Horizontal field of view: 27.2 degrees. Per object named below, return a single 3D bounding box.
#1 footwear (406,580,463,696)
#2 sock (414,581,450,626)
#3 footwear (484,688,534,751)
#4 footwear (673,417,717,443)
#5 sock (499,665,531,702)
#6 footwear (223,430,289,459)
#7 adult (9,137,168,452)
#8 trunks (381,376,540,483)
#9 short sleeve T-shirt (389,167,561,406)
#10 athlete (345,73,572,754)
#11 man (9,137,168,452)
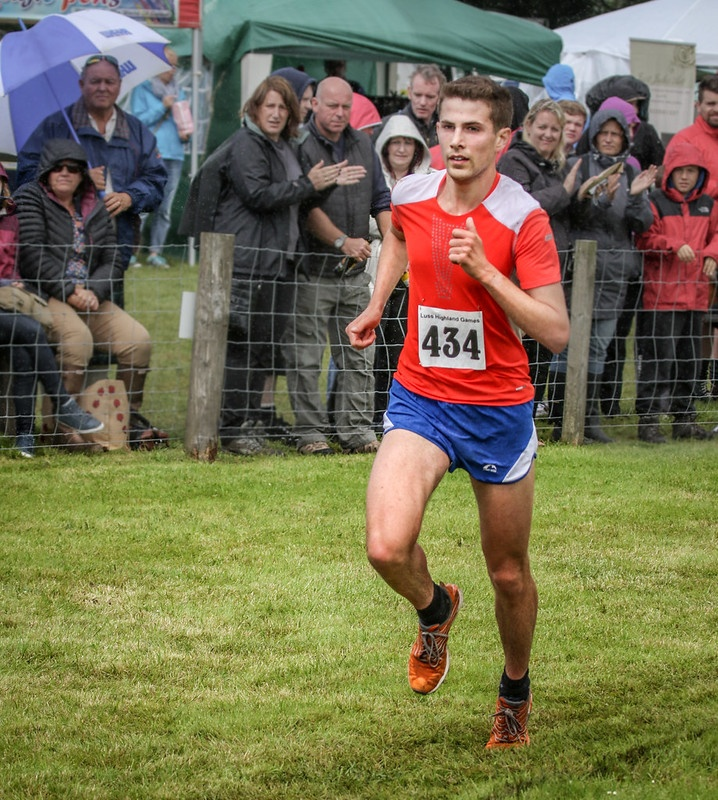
[{"bbox_3d":[0.269,0.893,5.335,0.149,0.438,0.189,14,-2,13],"label":"footwear"},{"bbox_3d":[0.259,0.748,5.250,0.070,0.206,0.087,3,-27,15],"label":"sock"},{"bbox_3d":[0.530,1.179,5.335,0.098,0.258,0.108,7,-15,7],"label":"footwear"},{"bbox_3d":[2.309,0.224,10.318,0.347,0.234,0.117,-1,11,8],"label":"footwear"},{"bbox_3d":[0.559,1.027,5.316,0.103,0.132,0.308,-1,-8,9],"label":"sock"},{"bbox_3d":[-0.601,0.272,8.889,0.398,0.180,0.139,1,5,1],"label":"footwear"},{"bbox_3d":[-1.615,-0.727,8.782,0.841,1.572,0.280,3,3,-31],"label":"adult"},{"bbox_3d":[0.383,0.109,5.436,0.652,0.438,0.316,12,-2,5],"label":"trunks"},{"bbox_3d":[0.416,-0.416,5.419,0.482,0.857,0.806,-15,23,-40],"label":"short sleeve T-shirt"},{"bbox_3d":[0.343,0.041,5.368,0.764,1.763,0.783,4,2,-1],"label":"athlete"},{"bbox_3d":[-1.615,-0.727,8.782,0.841,1.572,0.280,3,3,-31],"label":"man"}]
